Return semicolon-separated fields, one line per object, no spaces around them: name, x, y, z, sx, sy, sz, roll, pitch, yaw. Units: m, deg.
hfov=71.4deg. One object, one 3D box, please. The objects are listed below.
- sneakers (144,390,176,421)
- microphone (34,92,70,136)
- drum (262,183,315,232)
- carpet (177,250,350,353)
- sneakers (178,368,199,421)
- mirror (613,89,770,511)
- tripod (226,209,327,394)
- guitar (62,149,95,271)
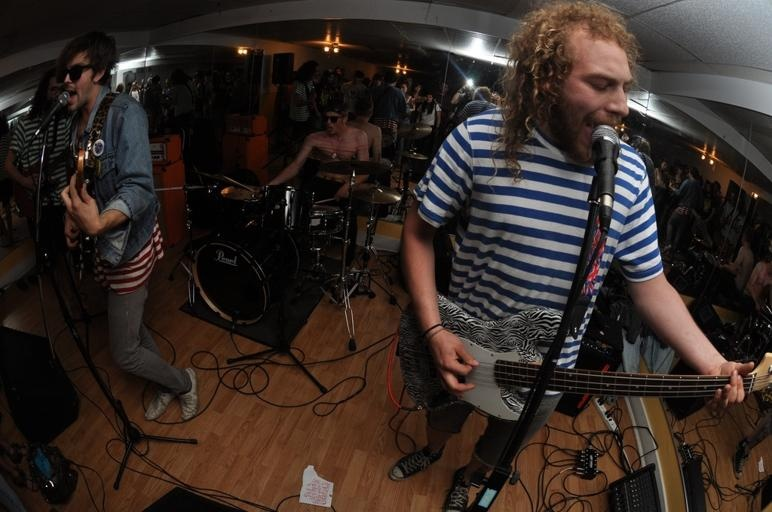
sneakers;-1.484;0.978;3.529;0.086;0.092;0.238;41;54;-7
microphone;-1.648;-0.703;2.626;0.065;0.078;0.239;23;61;17
drum;-0.784;-0.416;4.330;0.361;0.279;0.360;10;8;-2
carpet;-0.992;0.369;4.323;0.617;0.028;0.699;25;33;5
sneakers;-1.288;0.921;3.540;0.111;0.331;0.141;-1;10;12
mirror;1.865;0.360;3.611;1.175;2.277;0.539;4;-5;40
tripod;-0.880;0.368;4.150;0.811;0.990;0.763;18;44;2
guitar;-1.563;-0.258;2.723;0.086;0.635;0.233;1;13;-6
